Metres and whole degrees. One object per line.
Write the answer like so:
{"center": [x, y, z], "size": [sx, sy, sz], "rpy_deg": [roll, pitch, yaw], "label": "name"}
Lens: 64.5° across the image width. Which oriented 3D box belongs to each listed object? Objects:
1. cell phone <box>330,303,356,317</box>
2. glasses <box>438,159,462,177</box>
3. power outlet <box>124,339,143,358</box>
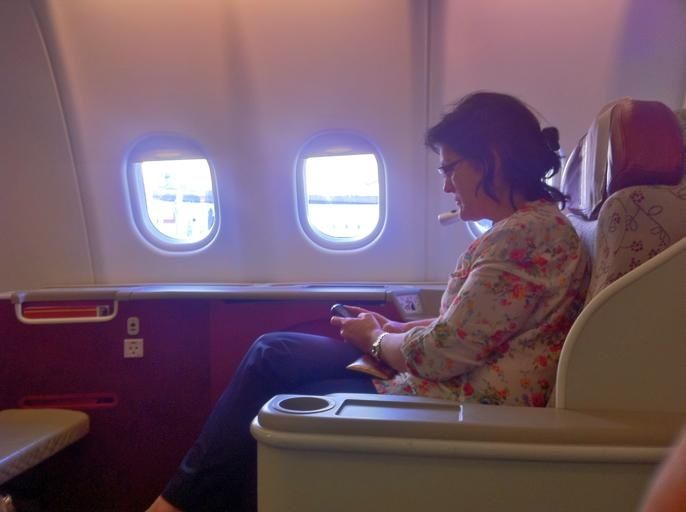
{"center": [0.006, 0.238, 2.391], "size": [0.071, 0.046, 0.072], "rpy_deg": [34, -9, -1], "label": "cell phone"}
{"center": [0.376, -0.304, 1.878], "size": [0.051, 0.016, 0.049], "rpy_deg": [-35, -3, -8], "label": "glasses"}
{"center": [-1.088, 0.478, 2.820], "size": [0.087, 0.091, 0.012], "rpy_deg": [3, -6, -13], "label": "power outlet"}
